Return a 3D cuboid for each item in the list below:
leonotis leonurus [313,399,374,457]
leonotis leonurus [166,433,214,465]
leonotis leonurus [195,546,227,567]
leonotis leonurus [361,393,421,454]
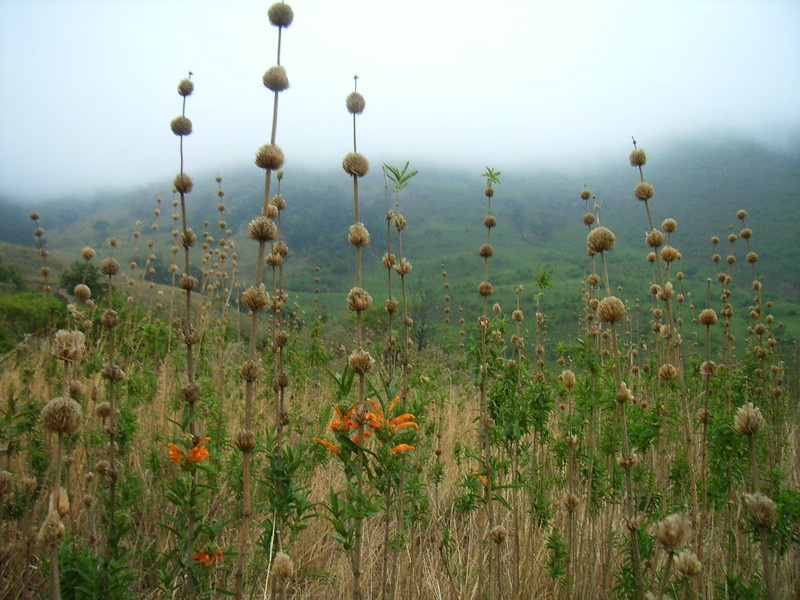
[{"bbox_3d":[-0.557,1.333,7.664,0.522,0.648,0.727,1,6,2],"label":"leonotis leonurus"},{"bbox_3d":[-2.216,1.674,7.958,0.409,0.260,0.429,0,-7,34],"label":"leonotis leonurus"},{"bbox_3d":[-2.107,2.861,8.078,0.279,0.146,0.309,-1,-23,7],"label":"leonotis leonurus"},{"bbox_3d":[-0.101,1.325,7.673,0.548,0.489,0.564,17,11,34],"label":"leonotis leonurus"}]
